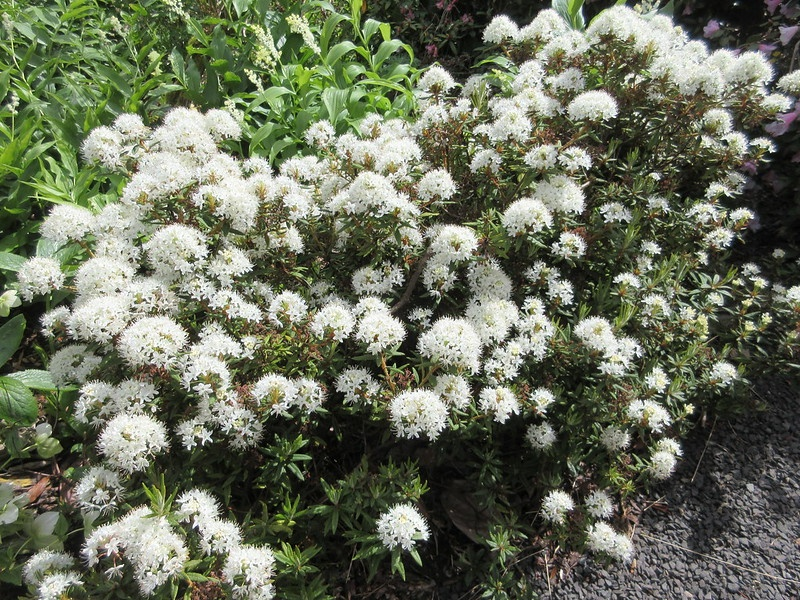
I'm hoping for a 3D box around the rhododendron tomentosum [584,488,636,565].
[{"bbox_3d":[1.370,1.482,4.200,0.366,0.266,0.455,-17,83,37],"label":"rhododendron tomentosum"}]

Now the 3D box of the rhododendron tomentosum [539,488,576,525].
[{"bbox_3d":[1.011,1.331,4.155,0.218,0.227,0.219,36,75,18],"label":"rhododendron tomentosum"}]

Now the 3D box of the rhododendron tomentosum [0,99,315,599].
[{"bbox_3d":[-1.375,0.220,3.848,2.071,1.031,2.870,7,87,-4],"label":"rhododendron tomentosum"}]

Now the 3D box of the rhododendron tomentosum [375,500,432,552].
[{"bbox_3d":[0.011,1.296,3.560,0.260,0.173,0.239,37,82,4],"label":"rhododendron tomentosum"}]
